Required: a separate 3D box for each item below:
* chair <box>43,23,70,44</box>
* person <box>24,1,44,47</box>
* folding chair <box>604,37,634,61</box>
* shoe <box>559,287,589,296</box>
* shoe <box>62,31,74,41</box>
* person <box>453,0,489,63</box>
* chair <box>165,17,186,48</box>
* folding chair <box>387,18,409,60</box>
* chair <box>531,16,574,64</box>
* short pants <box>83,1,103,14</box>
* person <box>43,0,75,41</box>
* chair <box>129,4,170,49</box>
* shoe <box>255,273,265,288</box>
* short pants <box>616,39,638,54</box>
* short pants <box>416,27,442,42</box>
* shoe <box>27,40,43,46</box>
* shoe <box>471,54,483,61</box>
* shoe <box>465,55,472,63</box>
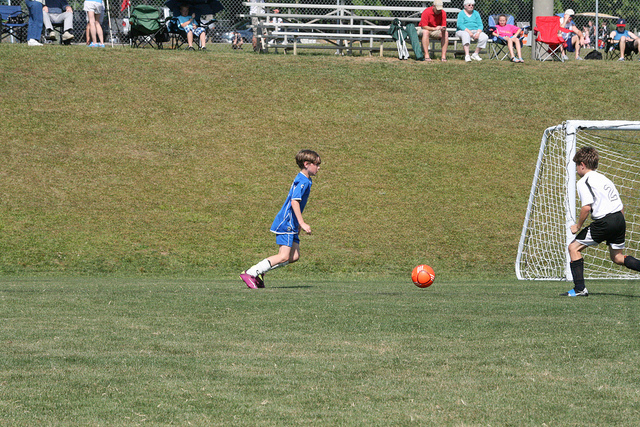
[{"bbox_3d":[-8.655,-5.847,45.527,0.917,0.812,0.799,1,-8,-8],"label":"chair"},{"bbox_3d":[-9.134,-5.972,44.418,0.531,1.438,0.939,-1,5,-10],"label":"person"},{"bbox_3d":[10.409,-5.768,49.191,0.953,0.982,0.850,-3,2,-40],"label":"folding chair"},{"bbox_3d":[6.068,1.863,33.103,0.645,0.218,0.221,2,-6,6],"label":"shoe"},{"bbox_3d":[-8.204,-5.689,45.095,0.288,0.286,0.430,-2,5,-22],"label":"shoe"},{"bbox_3d":[5.020,-5.966,46.222,0.995,2.017,1.389,2,5,15],"label":"person"},{"bbox_3d":[-4.748,-6.044,46.370,0.788,0.902,0.781,-5,1,-34],"label":"chair"},{"bbox_3d":[2.666,-5.908,45.979,0.817,0.549,1.595,-7,-3,2],"label":"folding chair"},{"bbox_3d":[7.832,-5.836,47.301,1.190,1.565,1.949,1,5,9],"label":"chair"},{"bbox_3d":[-7.367,-6.602,44.391,0.373,0.404,0.613,22,20,32],"label":"short pants"},{"bbox_3d":[-8.515,-6.154,44.859,1.123,1.248,0.660,-3,6,-36],"label":"person"},{"bbox_3d":[-5.680,-6.080,46.061,1.293,1.383,1.526,0,5,-6],"label":"chair"},{"bbox_3d":[-1.429,1.593,33.462,0.172,0.367,0.383,2,5,15],"label":"shoe"},{"bbox_3d":[10.776,-5.732,48.308,0.601,0.474,0.755,-2,5,-28],"label":"short pants"},{"bbox_3d":[3.618,-5.852,45.787,0.566,0.222,0.547,2,-6,-4],"label":"short pants"},{"bbox_3d":[-9.191,-5.386,44.549,0.419,0.161,0.156,-2,11,-11],"label":"shoe"},{"bbox_3d":[5.275,-5.177,46.716,0.176,0.161,0.380,-1,7,-32],"label":"shoe"},{"bbox_3d":[4.949,-5.100,46.448,0.293,0.252,0.603,1,8,1],"label":"shoe"}]
